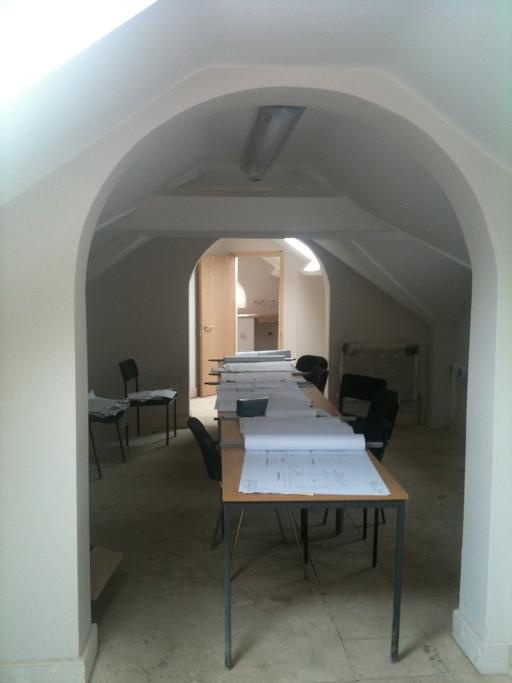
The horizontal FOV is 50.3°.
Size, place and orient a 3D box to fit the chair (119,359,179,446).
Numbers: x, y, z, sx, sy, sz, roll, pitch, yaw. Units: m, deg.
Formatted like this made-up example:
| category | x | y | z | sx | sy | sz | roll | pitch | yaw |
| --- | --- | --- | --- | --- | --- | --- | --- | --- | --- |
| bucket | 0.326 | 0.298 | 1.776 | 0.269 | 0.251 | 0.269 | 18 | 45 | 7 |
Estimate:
| category | x | y | z | sx | sy | sz | roll | pitch | yaw |
| --- | --- | --- | --- | --- | --- | --- | --- | --- | --- |
| chair | -1.122 | 0.608 | 5.757 | 0.595 | 0.837 | 1.244 | -1 | 5 | -11 |
